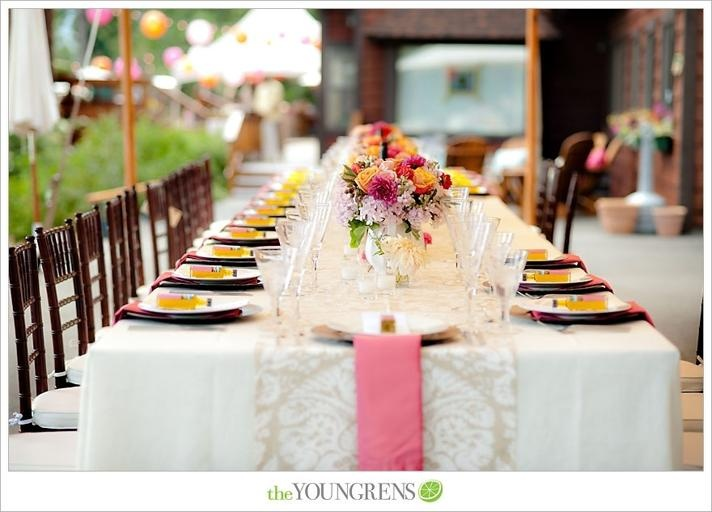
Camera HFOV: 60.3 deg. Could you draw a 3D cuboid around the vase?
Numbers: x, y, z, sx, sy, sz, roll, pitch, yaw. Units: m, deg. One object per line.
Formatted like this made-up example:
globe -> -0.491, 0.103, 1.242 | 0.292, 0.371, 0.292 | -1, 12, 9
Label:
vase -> 3.648, -0.849, 7.788 | 1.130, 1.096, 1.133 | 2, 4, 3
